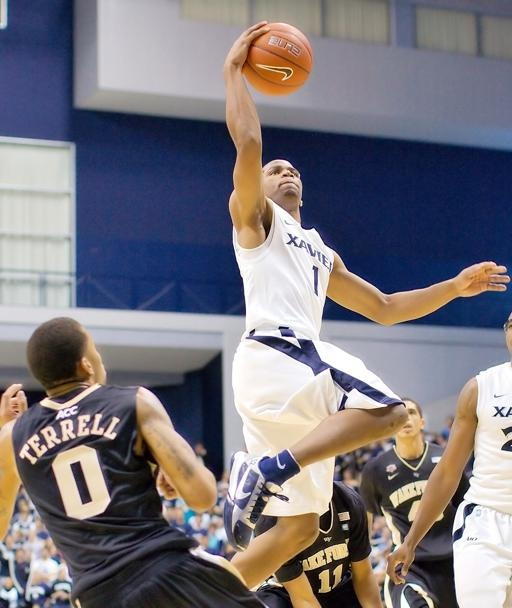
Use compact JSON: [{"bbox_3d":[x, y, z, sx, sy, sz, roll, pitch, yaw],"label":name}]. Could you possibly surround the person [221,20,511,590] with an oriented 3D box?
[{"bbox_3d":[0.320,-0.034,6.908,0.911,3.031,1.352,-2,2,6],"label":"person"}]
